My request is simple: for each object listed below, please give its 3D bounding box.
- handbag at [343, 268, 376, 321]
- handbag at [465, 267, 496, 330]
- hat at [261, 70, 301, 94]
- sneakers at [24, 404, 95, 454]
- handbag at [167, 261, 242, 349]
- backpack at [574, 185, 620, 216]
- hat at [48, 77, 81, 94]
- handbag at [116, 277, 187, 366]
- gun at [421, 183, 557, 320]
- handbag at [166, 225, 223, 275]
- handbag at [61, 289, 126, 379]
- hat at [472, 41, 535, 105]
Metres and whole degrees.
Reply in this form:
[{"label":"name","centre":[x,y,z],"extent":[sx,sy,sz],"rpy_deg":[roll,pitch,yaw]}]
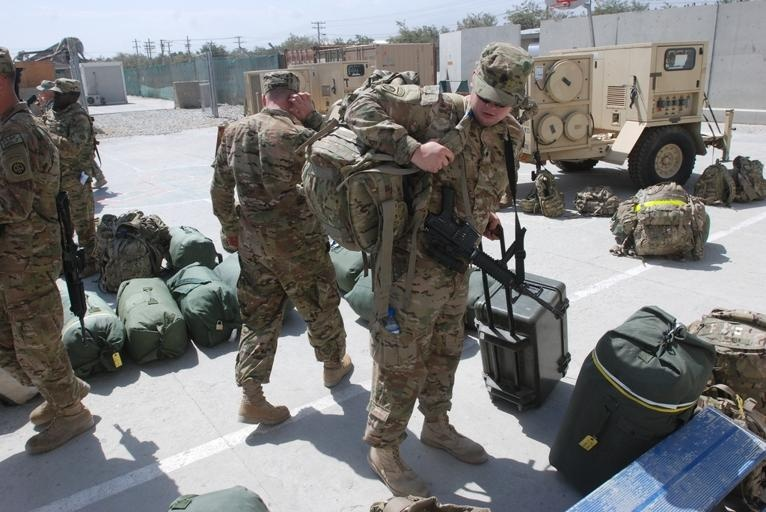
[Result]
[{"label":"handbag","centre":[-0.204,0.399,5.854],"extent":[0.244,0.440,0.405],"rpy_deg":[8,-4,-37]},{"label":"handbag","centre":[0.908,0.400,5.590],"extent":[0.396,0.199,0.513],"rpy_deg":[-5,46,10]},{"label":"hat","centre":[-0.822,-1.401,4.817],"extent":[0.211,0.125,0.244],"rpy_deg":[9,17,29]},{"label":"sneakers","centre":[-2.525,1.380,4.812],"extent":[0.593,0.216,0.255],"rpy_deg":[-36,-3,-34]},{"label":"handbag","centre":[-1.755,0.490,6.038],"extent":[0.549,0.432,1.054],"rpy_deg":[-33,42,-7]},{"label":"backpack","centre":[3.283,-0.837,8.863],"extent":[0.511,0.244,0.520],"rpy_deg":[16,25,38]},{"label":"hat","centre":[-3.871,-2.080,7.269],"extent":[0.250,0.122,0.364],"rpy_deg":[15,23,18]},{"label":"handbag","centre":[-2.226,0.563,5.736],"extent":[0.491,0.457,0.987],"rpy_deg":[-8,27,-23]},{"label":"gun","centre":[0.679,-0.092,4.078],"extent":[0.771,0.798,0.350],"rpy_deg":[-1,18,6]},{"label":"handbag","centre":[-2.181,-0.130,6.861],"extent":[0.674,0.509,0.954],"rpy_deg":[-2,16,-19]},{"label":"handbag","centre":[-2.736,0.698,5.546],"extent":[0.443,0.440,0.928],"rpy_deg":[-6,24,-34]},{"label":"hat","centre":[0.777,-1.160,3.880],"extent":[0.330,0.461,0.155],"rpy_deg":[14,-21,5]}]
